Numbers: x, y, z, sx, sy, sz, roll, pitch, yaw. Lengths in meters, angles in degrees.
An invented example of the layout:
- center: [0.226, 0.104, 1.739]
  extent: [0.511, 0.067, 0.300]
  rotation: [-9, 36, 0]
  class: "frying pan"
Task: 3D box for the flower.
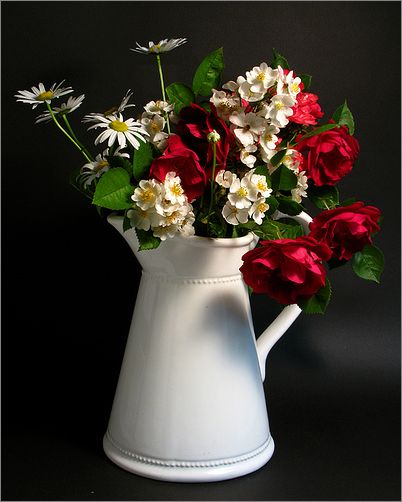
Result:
- center: [0.006, -0.115, 0.605]
  extent: [0.476, 0.360, 0.280]
  rotation: [1, 5, 5]
  class: "flower"
